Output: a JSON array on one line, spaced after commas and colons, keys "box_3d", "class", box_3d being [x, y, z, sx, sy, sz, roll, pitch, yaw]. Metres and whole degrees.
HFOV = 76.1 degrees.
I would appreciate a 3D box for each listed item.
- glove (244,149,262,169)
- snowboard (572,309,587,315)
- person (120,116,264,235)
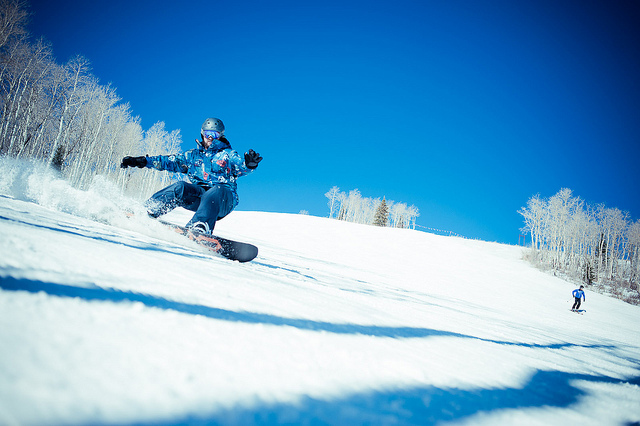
[{"box_3d": [-0.765, -0.617, 4.682, 0.164, 0.212, 0.319, 15, -4, -28], "class": "glove"}, {"box_3d": [7.177, 2.714, 11.304, 0.307, 0.121, 0.303, 9, -13, -9], "class": "snowboard"}, {"box_3d": [-1.460, -0.518, 4.992, 1.548, 1.459, 0.860, 11, -4, 24], "class": "person"}]
